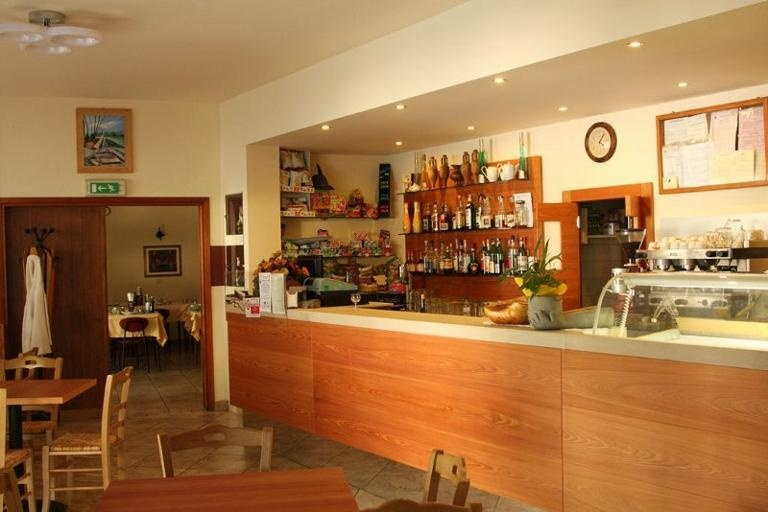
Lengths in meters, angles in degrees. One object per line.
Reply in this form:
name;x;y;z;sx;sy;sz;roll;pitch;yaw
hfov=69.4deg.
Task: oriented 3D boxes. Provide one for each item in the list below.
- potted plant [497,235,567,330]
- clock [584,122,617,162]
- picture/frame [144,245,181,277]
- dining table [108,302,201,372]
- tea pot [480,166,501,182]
potted plant;1.166;0.216;4.282;0.463;0.637;0.542;0;-3;-34
clock;2.472;-1.295;6.291;0.062;0.471;0.539;-3;0;-37
picture/frame;-4.983;0.103;12.435;0.868;0.685;0.058;0;4;-20
dining table;-4.192;1.772;10.472;1.686;0.826;1.807;-3;2;-22
tea pot;1.372;-1.056;7.133;0.100;0.201;0.304;-5;2;-33
